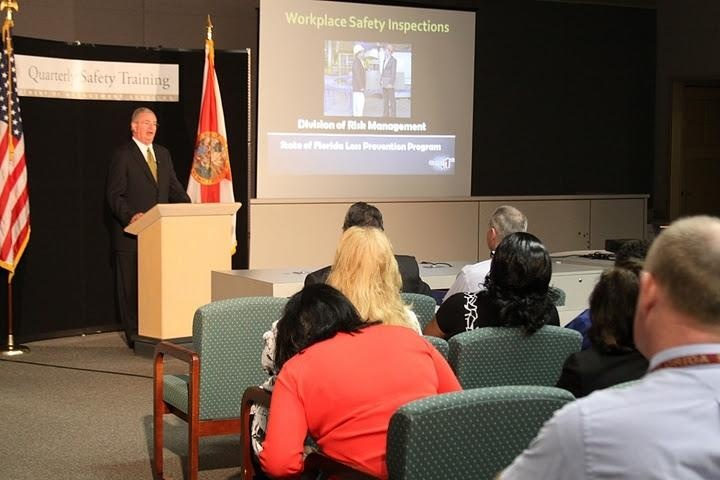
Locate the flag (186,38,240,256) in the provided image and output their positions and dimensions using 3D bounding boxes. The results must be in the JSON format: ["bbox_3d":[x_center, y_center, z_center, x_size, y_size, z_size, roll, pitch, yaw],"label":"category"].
[{"bbox_3d":[-1.675,-1.302,6.262,0.493,1.762,0.265,-1,6,-15],"label":"flag"}]

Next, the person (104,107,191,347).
[{"bbox_3d":[-2.274,-0.164,5.952,0.688,2.358,0.485,-4,7,-39],"label":"person"}]
